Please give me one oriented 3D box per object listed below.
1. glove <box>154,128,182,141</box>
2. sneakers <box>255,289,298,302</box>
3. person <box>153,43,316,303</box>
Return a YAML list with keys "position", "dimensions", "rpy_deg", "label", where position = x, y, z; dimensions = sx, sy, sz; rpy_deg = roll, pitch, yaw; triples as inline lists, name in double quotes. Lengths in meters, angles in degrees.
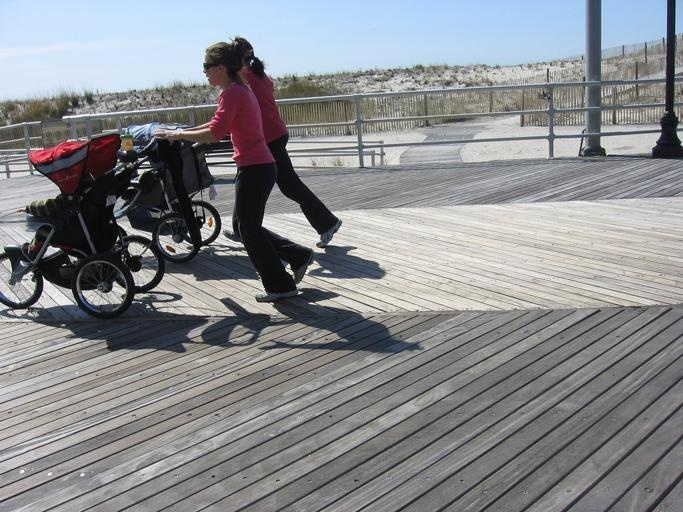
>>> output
- position: [-1.449, -1.018, 4.123]
  dimensions: [0.190, 0.098, 0.703]
  rpy_deg: [-10, 14, -17]
  label: "glove"
- position: [-0.554, 0.333, 4.157]
  dimensions: [0.399, 0.111, 0.109]
  rpy_deg: [-2, 16, -10]
  label: "sneakers"
- position: [-0.791, -0.652, 3.985]
  dimensions: [0.856, 2.088, 0.751]
  rpy_deg: [-9, 19, -2]
  label: "person"
